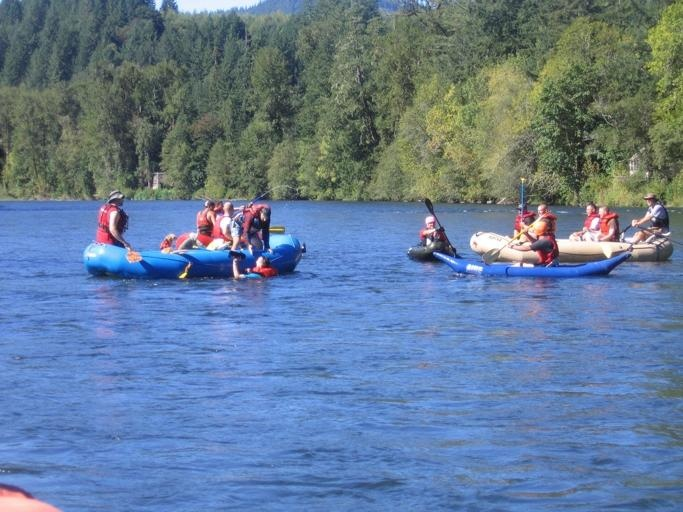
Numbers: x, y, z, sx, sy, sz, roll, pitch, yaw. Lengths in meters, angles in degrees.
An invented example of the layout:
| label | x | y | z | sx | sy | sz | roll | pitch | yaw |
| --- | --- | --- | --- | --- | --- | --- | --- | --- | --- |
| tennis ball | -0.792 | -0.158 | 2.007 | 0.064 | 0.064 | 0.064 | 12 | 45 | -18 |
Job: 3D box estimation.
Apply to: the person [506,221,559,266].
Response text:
| label | x | y | z | sx | sy | sz | roll | pitch | yaw |
| --- | --- | --- | --- | --- | --- | --- | --- | --- | --- |
| person | 5.991 | -0.555 | 41.899 | 0.940 | 1.459 | 1.463 | -2 | 14 | -20 |

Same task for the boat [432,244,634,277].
| label | x | y | z | sx | sy | sz | roll | pitch | yaw |
| --- | --- | --- | --- | --- | --- | --- | --- | --- | --- |
| boat | 6.257 | 0.303 | 42.804 | 7.312 | 0.720 | 3.828 | 2 | 6 | 26 |

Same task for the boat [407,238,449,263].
| label | x | y | z | sx | sy | sz | roll | pitch | yaw |
| --- | --- | --- | --- | --- | --- | --- | --- | --- | --- |
| boat | 2.938 | -0.165 | 45.722 | 0.987 | 0.465 | 1.871 | 14 | -3 | -13 |

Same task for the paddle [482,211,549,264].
| label | x | y | z | sx | sy | sz | roll | pitch | yaw |
| --- | --- | --- | --- | --- | --- | --- | --- | --- | --- |
| paddle | 5.512 | -0.567 | 42.409 | 2.732 | 1.032 | 0.946 | -34 | -17 | 33 |

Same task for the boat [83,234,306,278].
| label | x | y | z | sx | sy | sz | roll | pitch | yaw |
| --- | --- | --- | --- | --- | --- | --- | --- | --- | --- |
| boat | -4.548 | 0.173 | 41.263 | 6.252 | 1.064 | 1.488 | -1 | 13 | -18 |

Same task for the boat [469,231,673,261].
| label | x | y | z | sx | sy | sz | roll | pitch | yaw |
| --- | --- | --- | --- | --- | --- | --- | --- | --- | --- |
| boat | 7.568 | -0.302 | 44.125 | 5.255 | 0.463 | 3.559 | 1 | 6 | 44 |

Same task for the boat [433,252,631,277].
| label | x | y | z | sx | sy | sz | roll | pitch | yaw |
| --- | --- | --- | --- | --- | --- | --- | --- | --- | --- |
| boat | 6.125 | 0.254 | 42.527 | 4.575 | 0.287 | 2.524 | 3 | 6 | 28 |

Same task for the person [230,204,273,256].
| label | x | y | z | sx | sy | sz | roll | pitch | yaw |
| --- | --- | --- | --- | --- | --- | --- | --- | --- | --- |
| person | -2.780 | -0.830 | 41.365 | 1.150 | 1.466 | 0.976 | -5 | 12 | -14 |
